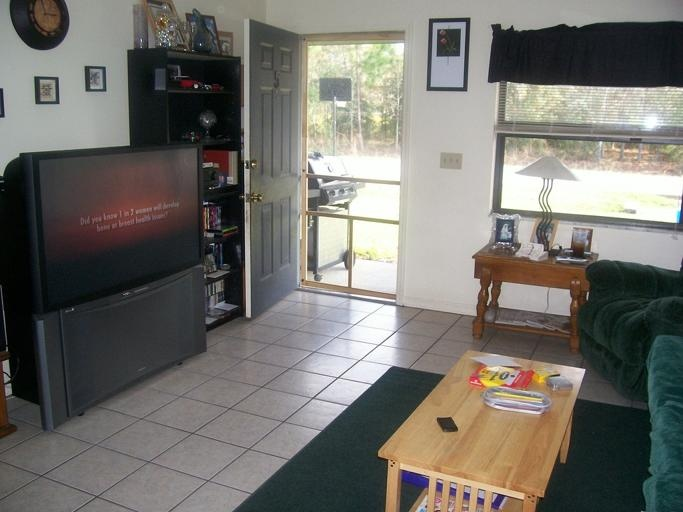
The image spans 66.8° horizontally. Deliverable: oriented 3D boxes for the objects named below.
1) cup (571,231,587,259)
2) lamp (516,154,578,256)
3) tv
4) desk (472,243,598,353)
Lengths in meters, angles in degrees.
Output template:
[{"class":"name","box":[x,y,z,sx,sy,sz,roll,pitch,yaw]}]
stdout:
[{"class":"cup","box":[1.954,-0.095,4.257,0.095,0.192,0.130,5,19,18]},{"class":"lamp","box":[1.795,-0.506,4.545,0.493,0.781,0.594,7,20,23]},{"class":"tv","box":[-1.447,-0.187,3.287,0.081,0.806,1.172,4,10,23]},{"class":"desk","box":[1.666,0.363,4.527,0.916,0.744,0.567,8,12,30]}]
